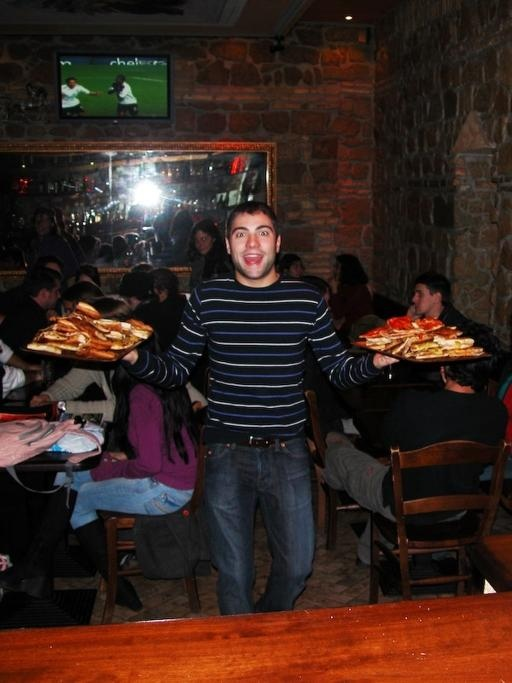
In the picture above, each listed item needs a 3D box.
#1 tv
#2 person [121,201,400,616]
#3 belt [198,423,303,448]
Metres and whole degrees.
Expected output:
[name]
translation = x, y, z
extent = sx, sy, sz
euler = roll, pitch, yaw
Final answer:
[tv]
translation = -1.608, -2.888, 6.413
extent = 1.007, 0.484, 0.095
euler = 1, 14, -1
[person]
translation = -0.007, 0.326, 1.900
extent = 1.111, 1.498, 0.415
euler = -1, -2, 14
[belt]
translation = -0.011, 0.311, 1.840
extent = 0.319, 0.071, 0.070
euler = 2, 10, 0
